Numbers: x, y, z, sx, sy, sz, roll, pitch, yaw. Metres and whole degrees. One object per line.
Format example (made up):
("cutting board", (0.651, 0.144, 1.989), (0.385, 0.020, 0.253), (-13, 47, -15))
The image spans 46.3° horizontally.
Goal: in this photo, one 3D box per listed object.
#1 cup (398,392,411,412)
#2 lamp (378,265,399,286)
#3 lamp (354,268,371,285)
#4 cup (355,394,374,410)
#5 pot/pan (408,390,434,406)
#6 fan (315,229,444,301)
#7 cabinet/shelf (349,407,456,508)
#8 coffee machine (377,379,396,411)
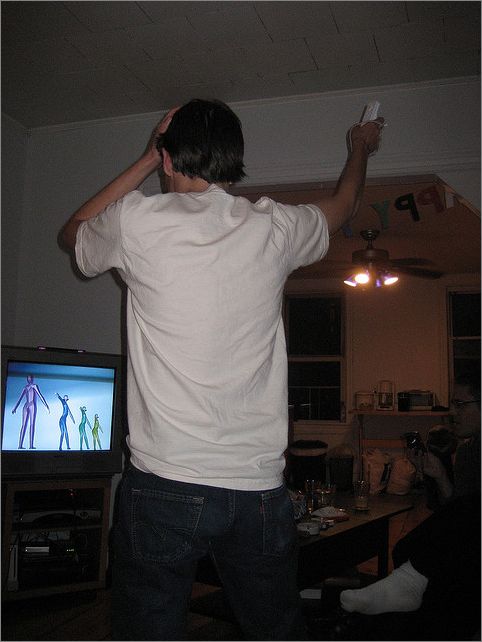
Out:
("cup", (1.790, 0.887, 6.172), (0.165, 0.299, 0.181), (0, -4, 0))
("lamp", (1.380, -0.434, 5.273), (0.121, 0.147, 0.237), (-20, 31, 3))
("lamp", (1.055, -0.382, 4.860), (0.116, 0.110, 0.152), (3, 0, -2))
("cup", (1.424, 0.908, 6.420), (0.205, 0.191, 0.189), (1, -7, 0))
("pot/pan", (2.004, 0.867, 6.249), (0.246, 0.183, 0.147), (0, -7, 2))
("fan", (1.047, -0.470, 5.216), (0.835, 0.372, 0.912), (-8, -10, 35))
("cabinet/shelf", (1.686, 1.438, 6.271), (0.829, 0.797, 0.836), (3, -8, -17))
("coffee machine", (1.669, 0.869, 6.452), (0.228, 0.393, 0.279), (1, -18, 2))
